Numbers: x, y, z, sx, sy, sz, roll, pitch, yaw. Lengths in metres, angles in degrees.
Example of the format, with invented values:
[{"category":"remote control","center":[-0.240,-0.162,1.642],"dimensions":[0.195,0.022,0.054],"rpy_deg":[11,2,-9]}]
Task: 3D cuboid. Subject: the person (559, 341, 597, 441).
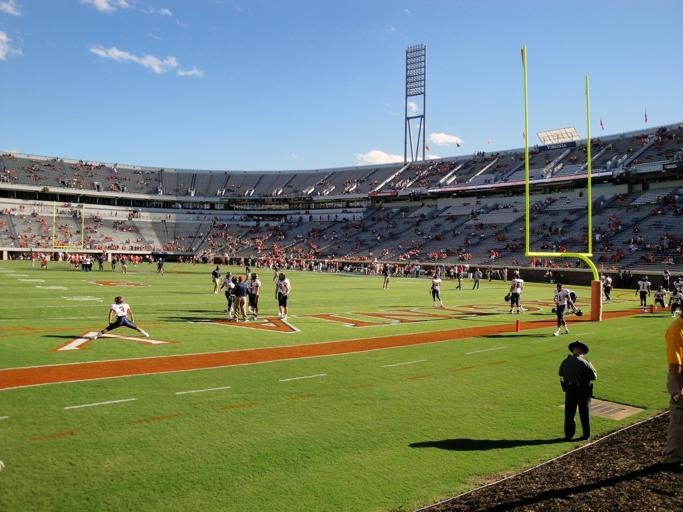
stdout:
[{"category":"person","center":[3.606,2.040,7.604],"dimensions":[0.522,1.401,0.801],"rpy_deg":[5,5,23]}]
